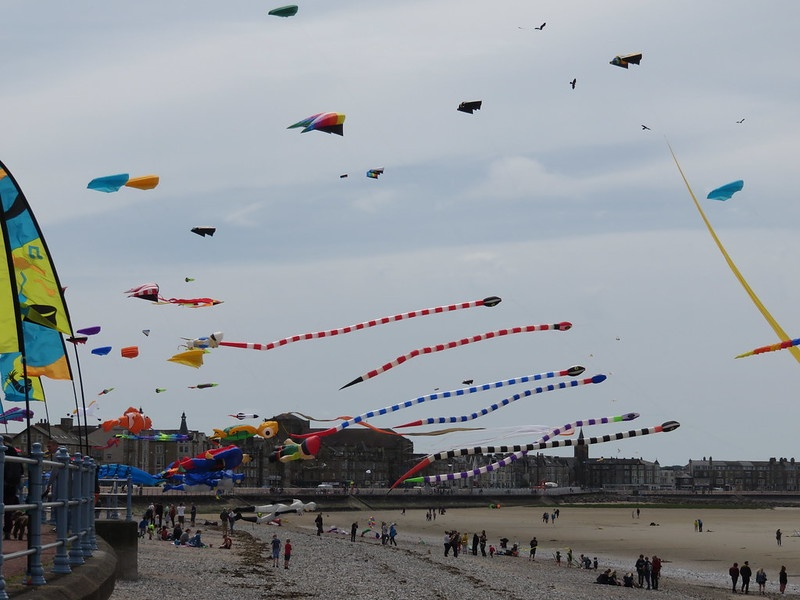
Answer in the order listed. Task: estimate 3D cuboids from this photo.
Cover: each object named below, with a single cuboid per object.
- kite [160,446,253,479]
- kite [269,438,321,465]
[{"bbox_3d":[-13.347,11.153,115.289,3.984,1.071,2.550,-11,-18,10],"label":"kite"},{"bbox_3d":[-6.332,9.534,106.050,3.019,1.291,2.041,-8,19,36],"label":"kite"}]
